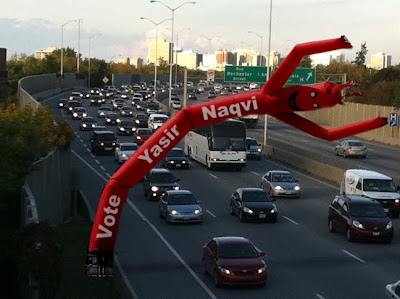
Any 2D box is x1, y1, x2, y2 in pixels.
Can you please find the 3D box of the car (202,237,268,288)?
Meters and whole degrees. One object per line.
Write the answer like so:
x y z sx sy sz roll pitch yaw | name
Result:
1.400 4.650 21.291 2.006 1.607 2.935 0 3 -7 | car

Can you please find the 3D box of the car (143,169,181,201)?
-2.550 2.248 34.353 1.912 2.204 2.022 -1 5 -20 | car

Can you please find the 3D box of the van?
8.384 3.631 26.864 1.726 2.179 3.797 0 2 2 | van
